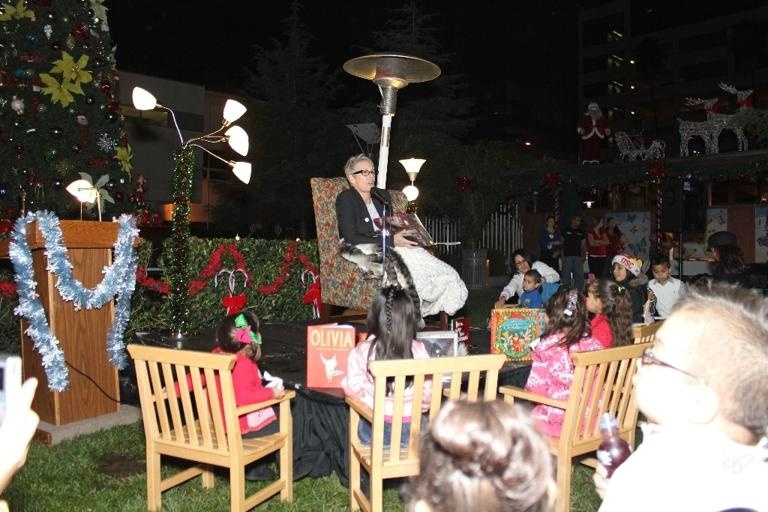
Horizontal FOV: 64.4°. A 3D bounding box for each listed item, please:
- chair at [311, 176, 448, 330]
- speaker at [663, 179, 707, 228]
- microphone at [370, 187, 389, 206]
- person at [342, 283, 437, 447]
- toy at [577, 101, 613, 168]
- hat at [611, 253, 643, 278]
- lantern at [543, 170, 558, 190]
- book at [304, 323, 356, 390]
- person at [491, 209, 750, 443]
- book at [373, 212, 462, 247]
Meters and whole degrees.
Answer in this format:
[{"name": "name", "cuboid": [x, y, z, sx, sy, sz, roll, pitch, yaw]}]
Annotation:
[{"name": "chair", "cuboid": [-0.200, -0.039, 7.572, 1.550, 2.110, 1.522, -3, -2, 36]}, {"name": "speaker", "cuboid": [4.405, -0.767, 8.951, 0.711, 0.717, 0.378, 0, -2, -44]}, {"name": "microphone", "cuboid": [-0.032, -0.580, 5.809, 0.108, 0.111, 0.362, -2, 8, -9]}, {"name": "person", "cuboid": [0.025, 0.818, 4.277, 0.633, 1.187, 0.589, 0, 13, -2]}, {"name": "toy", "cuboid": [4.737, -2.773, 13.746, 0.647, 1.356, 1.287, 5, 14, 18]}, {"name": "hat", "cuboid": [2.721, 0.047, 6.767, 0.268, 0.167, 0.306, 45, -15, -33]}, {"name": "lantern", "cuboid": [3.468, -1.551, 12.558, 0.286, 0.362, 0.549, 8, 15, 29]}, {"name": "book", "cuboid": [-0.418, 0.792, 5.125, 0.454, 0.693, 0.466, 3, 5, 10]}, {"name": "person", "cuboid": [1.803, 0.806, 4.605, 0.912, 1.557, 0.979, -5, 12, -27]}, {"name": "book", "cuboid": [0.187, -0.262, 5.960, 0.451, 0.244, 0.653, 0, 1, 39]}]
